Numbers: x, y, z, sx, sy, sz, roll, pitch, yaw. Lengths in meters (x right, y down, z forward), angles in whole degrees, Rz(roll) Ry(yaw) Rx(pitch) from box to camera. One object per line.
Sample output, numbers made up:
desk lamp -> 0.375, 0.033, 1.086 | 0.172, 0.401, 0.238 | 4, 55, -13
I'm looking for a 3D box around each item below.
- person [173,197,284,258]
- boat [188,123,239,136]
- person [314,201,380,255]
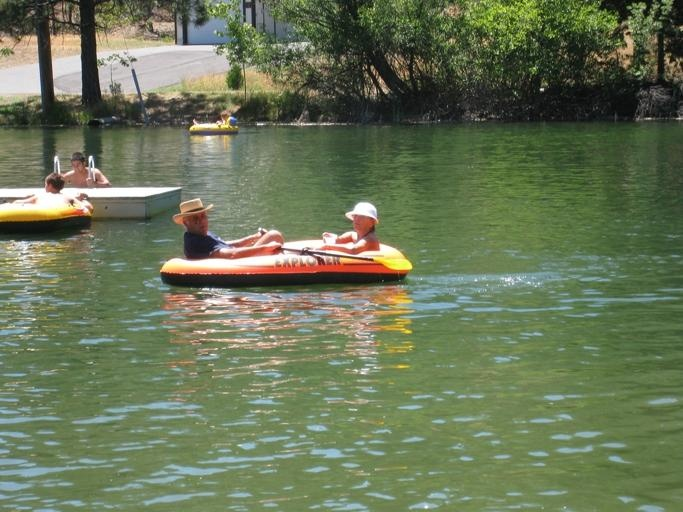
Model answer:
person -> -1.711, -0.428, 17.999 | 1.680, 0.756, 0.959 | -3, 1, -5
boat -> -5.254, -5.241, 47.663 | 1.879, 0.468, 0.845 | 0, 7, 18
person -> 0.312, -0.466, 18.041 | 1.002, 0.503, 0.960 | -6, 9, -38
